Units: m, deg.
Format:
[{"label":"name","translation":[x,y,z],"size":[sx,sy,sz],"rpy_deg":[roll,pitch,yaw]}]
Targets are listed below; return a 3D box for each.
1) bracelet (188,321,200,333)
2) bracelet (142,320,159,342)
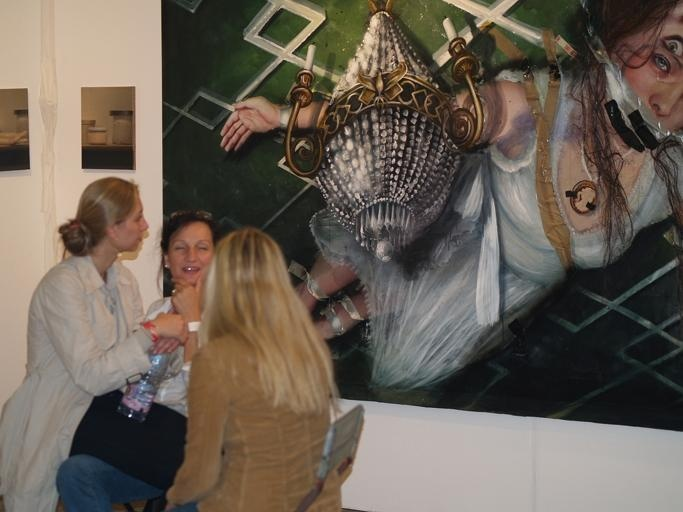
[{"label":"bracelet","translation":[-0.773,0.373,4.162],"size":[0.069,0.059,0.070],"rpy_deg":[4,-8,-23]},{"label":"bracelet","translation":[-0.962,0.374,4.007],"size":[0.062,0.095,0.087],"rpy_deg":[-14,27,-34]}]
